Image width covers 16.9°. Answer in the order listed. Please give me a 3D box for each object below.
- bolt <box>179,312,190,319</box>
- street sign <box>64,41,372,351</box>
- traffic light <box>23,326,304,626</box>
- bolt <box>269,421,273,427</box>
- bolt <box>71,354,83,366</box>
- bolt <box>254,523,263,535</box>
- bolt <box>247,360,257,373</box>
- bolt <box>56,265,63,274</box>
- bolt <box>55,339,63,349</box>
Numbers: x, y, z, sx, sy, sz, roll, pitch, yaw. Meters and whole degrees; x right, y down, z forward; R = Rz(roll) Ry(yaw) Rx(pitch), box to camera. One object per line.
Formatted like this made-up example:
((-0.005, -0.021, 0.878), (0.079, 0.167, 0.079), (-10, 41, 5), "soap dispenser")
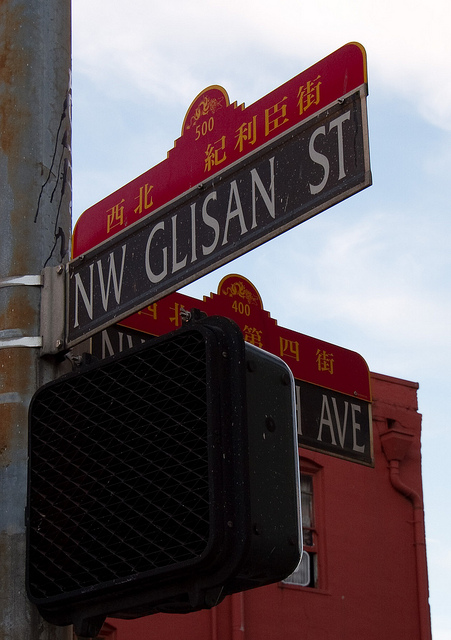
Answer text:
((-0.083, -0.013, 3.155), (0.010, 0.007, 0.014), (-1, 13, -44), "bolt")
((-0.036, -0.314, 3.532), (0.319, 0.670, 1.018), (15, -25, -40), "street sign")
((-0.173, 0.366, 3.136), (0.469, 0.615, 0.330), (-11, -26, 12), "traffic light")
((0.089, 0.203, 2.978), (0.002, 0.014, 0.012), (-8, -20, 26), "bolt")
((-0.331, 0.085, 3.400), (0.008, 0.022, 0.025), (3, 21, -38), "bolt")
((0.062, 0.392, 2.846), (0.002, 0.023, 0.029), (-10, -22, 32), "bolt")
((0.051, 0.090, 2.987), (0.005, 0.024, 0.019), (-9, -10, 28), "bolt")
((-0.403, -0.127, 3.699), (0.003, 0.018, 0.013), (7, -7, -44), "bolt")
((-0.392, 0.054, 3.583), (0.016, 0.021, 0.015), (6, -10, -35), "bolt")
